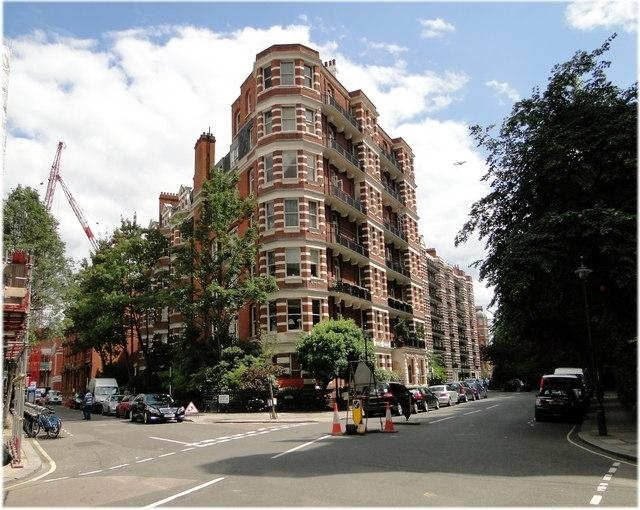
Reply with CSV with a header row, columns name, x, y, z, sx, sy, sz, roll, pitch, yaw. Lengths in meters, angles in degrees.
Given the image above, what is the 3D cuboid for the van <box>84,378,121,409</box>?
name,x,y,z,sx,sy,sz,roll,pitch,yaw
van,-17.625,11.094,45.309,1.770,1.778,3.434,4,-17,-28

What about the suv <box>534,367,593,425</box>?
name,x,y,z,sx,sy,sz,roll,pitch,yaw
suv,10.914,6.286,24.925,2.011,1.768,3.725,-1,-7,21

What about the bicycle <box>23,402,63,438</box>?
name,x,y,z,sx,sy,sz,roll,pitch,yaw
bicycle,-12.199,7.203,24.174,1.383,1.499,2.412,6,-17,-27

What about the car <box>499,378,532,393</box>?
name,x,y,z,sx,sy,sz,roll,pitch,yaw
car,24.411,17.062,70.865,3.591,1.870,2.134,-3,-12,42
